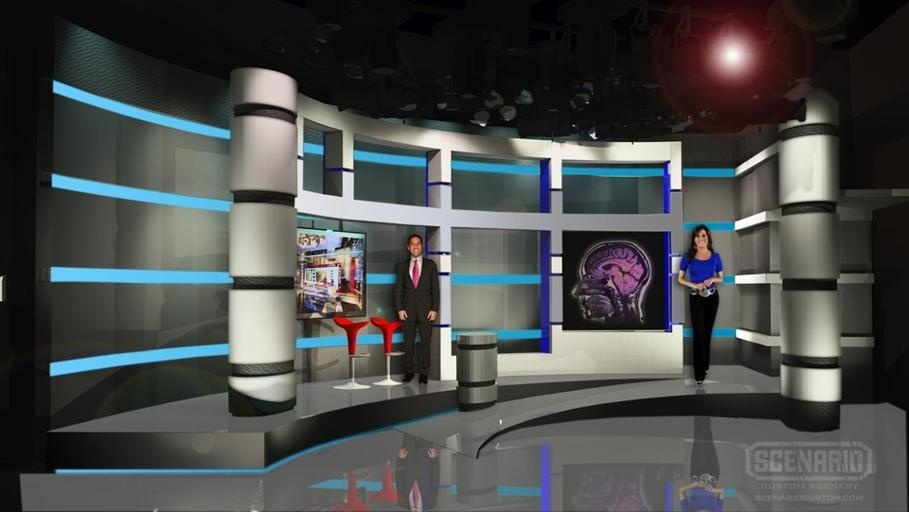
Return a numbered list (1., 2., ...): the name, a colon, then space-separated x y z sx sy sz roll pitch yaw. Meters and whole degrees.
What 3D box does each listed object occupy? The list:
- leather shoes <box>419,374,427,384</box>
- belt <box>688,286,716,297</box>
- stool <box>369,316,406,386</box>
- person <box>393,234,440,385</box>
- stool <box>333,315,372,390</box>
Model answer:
1. leather shoes: -0.510 2.039 10.402 0.173 0.148 0.119 0 -3 3
2. belt: 4.118 0.564 10.295 0.415 0.208 0.164 3 13 11
3. stool: -1.144 1.579 10.470 0.525 1.101 1.080 -2 12 -8
4. person: -0.627 0.919 10.576 0.743 2.471 0.936 0 13 -1
5. stool: -1.683 1.580 10.208 0.557 1.099 1.130 -2 12 -9
